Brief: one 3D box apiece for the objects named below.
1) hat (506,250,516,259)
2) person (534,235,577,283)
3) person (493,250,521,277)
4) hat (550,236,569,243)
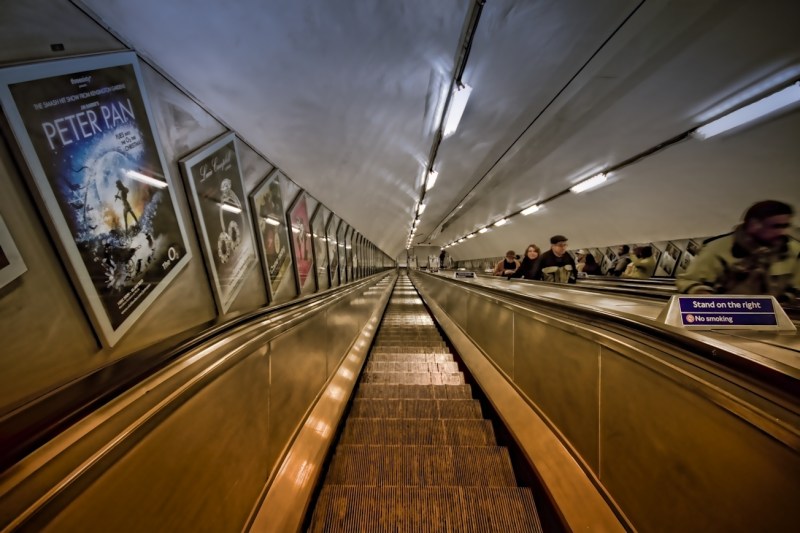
[{"bbox_3d":[2.609,-0.242,8.696,0.252,0.330,0.373,0,1,18],"label":"hat"},{"bbox_3d":[2.853,-0.086,6.841,0.739,0.825,0.676,-1,-4,39],"label":"person"},{"bbox_3d":[3.117,-0.067,10.727,0.453,0.712,1.164,-7,-23,14],"label":"person"},{"bbox_3d":[2.827,-0.447,6.552,0.185,0.074,0.180,-1,1,-2],"label":"hat"}]
